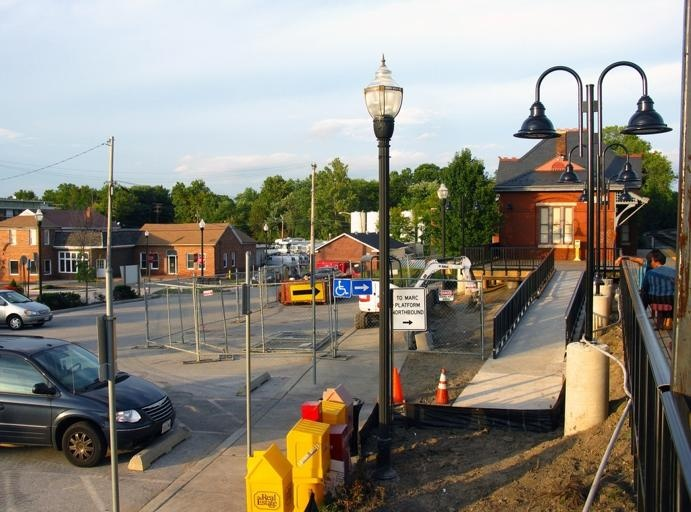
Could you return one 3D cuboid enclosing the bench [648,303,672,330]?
[{"bbox_3d":[6.438,1.229,17.157,0.306,0.369,0.645,-5,-42,4],"label":"bench"}]

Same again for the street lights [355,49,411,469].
[{"bbox_3d":[0.751,0.194,15.527,0.877,6.086,0.432,-4,2,-10],"label":"street lights"}]

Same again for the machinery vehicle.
[{"bbox_3d":[2.091,1.378,30.597,6.236,3.798,2.154,-3,3,6],"label":"machinery vehicle"}]
